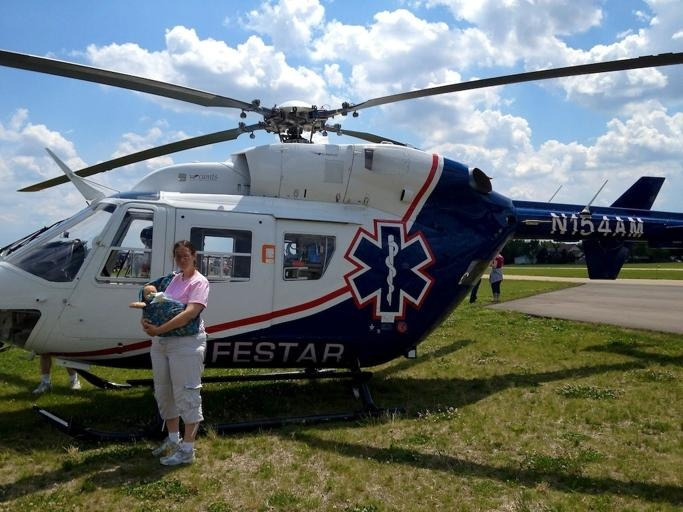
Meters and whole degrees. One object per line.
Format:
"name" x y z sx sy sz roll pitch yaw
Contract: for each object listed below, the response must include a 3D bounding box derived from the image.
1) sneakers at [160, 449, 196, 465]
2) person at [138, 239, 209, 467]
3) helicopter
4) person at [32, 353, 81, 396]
"sneakers" -2.047 2.552 6.341 0.482 0.195 0.168 4 -3 -12
"person" -2.140 1.182 6.310 1.061 2.683 0.827 -3 -12 14
"helicopter" -0.615 -0.094 8.847 7.698 2.579 7.640 3 -4 -13
"person" -4.855 2.056 8.508 0.902 0.727 0.698 6 -16 -21
